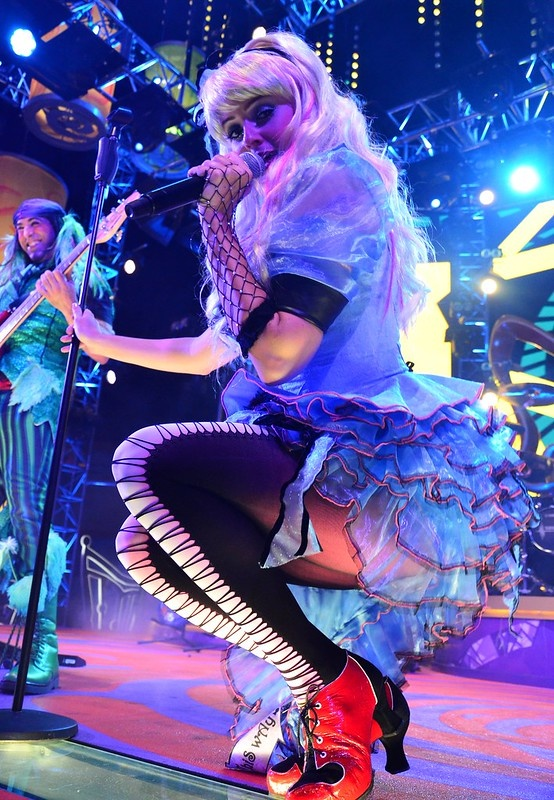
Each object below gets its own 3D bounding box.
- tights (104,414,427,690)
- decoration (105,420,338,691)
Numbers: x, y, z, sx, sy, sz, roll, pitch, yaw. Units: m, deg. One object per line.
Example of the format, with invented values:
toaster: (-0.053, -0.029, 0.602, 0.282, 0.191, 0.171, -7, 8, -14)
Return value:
tights: (-0.050, 0.287, 1.166, 0.422, 0.464, 0.365, 9, -24, -10)
decoration: (-0.071, 0.225, 1.011, 0.371, 0.386, 0.139, 6, -7, 2)
